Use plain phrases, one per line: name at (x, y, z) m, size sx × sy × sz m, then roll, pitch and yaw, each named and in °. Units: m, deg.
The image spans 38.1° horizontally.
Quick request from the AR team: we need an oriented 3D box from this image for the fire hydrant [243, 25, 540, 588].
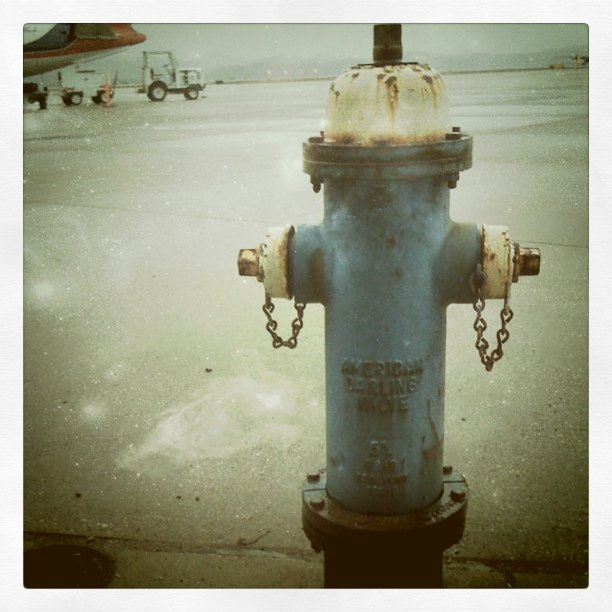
fire hydrant at (0.346, -0.029, 3.654) m, size 1.093 × 2.425 × 0.873 m, roll 0°, pitch 19°, yaw 1°
